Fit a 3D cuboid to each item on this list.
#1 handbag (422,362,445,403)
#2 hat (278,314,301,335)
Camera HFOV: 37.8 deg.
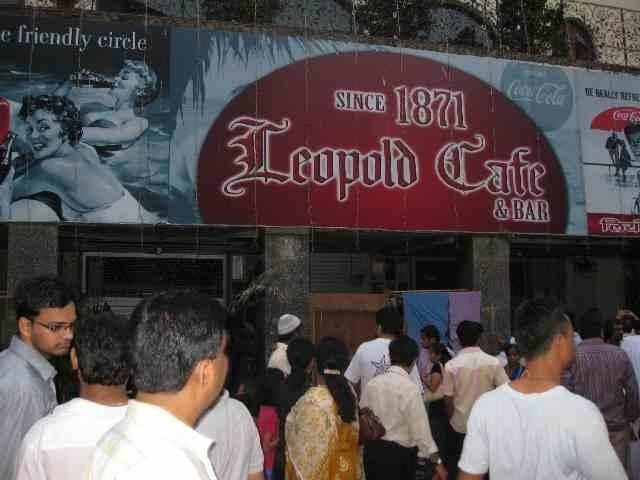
[{"bbox_3d":[1.682,2.108,13.777,0.294,0.574,0.423,8,-23,5],"label":"handbag"},{"bbox_3d":[-0.463,1.290,14.466,0.320,0.160,0.324,-38,10,-21],"label":"hat"}]
